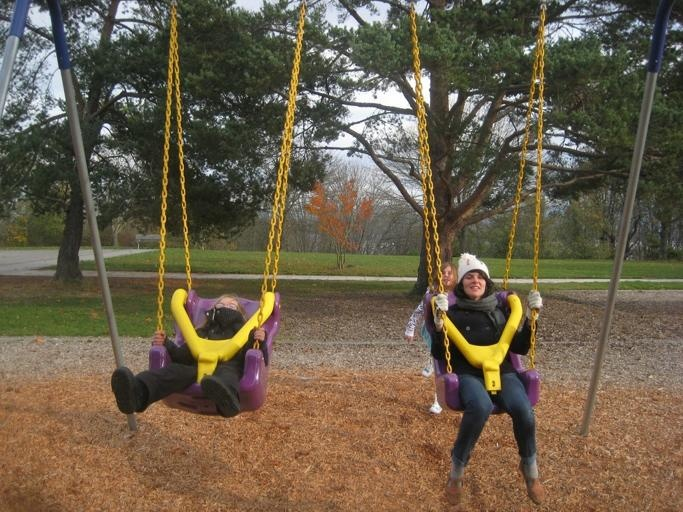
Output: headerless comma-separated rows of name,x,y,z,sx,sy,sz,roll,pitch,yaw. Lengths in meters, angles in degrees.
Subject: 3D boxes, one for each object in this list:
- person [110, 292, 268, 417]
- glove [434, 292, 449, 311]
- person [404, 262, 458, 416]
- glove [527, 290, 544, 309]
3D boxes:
person,-1.551,1.016,7.355,1.506,1.175,1.314,3,3,-6
glove,1.017,0.470,6.937,0.128,0.178,0.066,3,-6,3
person,1.135,1.001,8.427,0.632,1.511,0.360,0,9,12
glove,1.999,0.460,6.993,0.169,0.251,0.116,-7,-13,41
